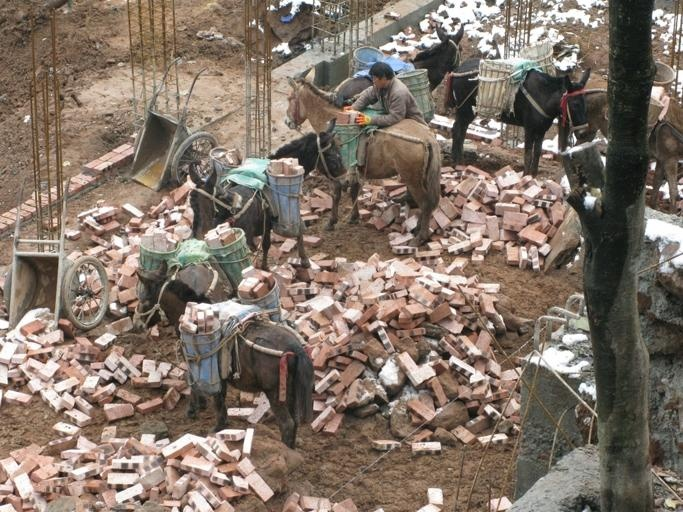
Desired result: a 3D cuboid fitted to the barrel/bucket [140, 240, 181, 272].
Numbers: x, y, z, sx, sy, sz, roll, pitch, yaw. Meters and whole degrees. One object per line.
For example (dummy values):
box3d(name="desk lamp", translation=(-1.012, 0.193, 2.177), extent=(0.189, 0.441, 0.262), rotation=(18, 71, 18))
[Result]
box3d(name="barrel/bucket", translation=(-2.415, 0.017, 15.512), extent=(0.381, 0.315, 0.356), rotation=(17, 14, -4))

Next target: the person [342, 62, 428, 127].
box3d(name="person", translation=(0.697, -2.508, 18.120), extent=(0.799, 1.313, 1.000), rotation=(11, 25, 26))

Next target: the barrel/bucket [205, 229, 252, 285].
box3d(name="barrel/bucket", translation=(-1.520, -0.043, 16.070), extent=(0.625, 0.709, 0.582), rotation=(10, 22, -4))

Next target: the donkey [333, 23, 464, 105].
box3d(name="donkey", translation=(0.971, -3.457, 20.976), extent=(2.300, 1.630, 0.566), rotation=(-26, 75, -6))

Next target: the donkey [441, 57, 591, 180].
box3d(name="donkey", translation=(2.860, -2.311, 19.573), extent=(2.724, 1.956, 0.662), rotation=(21, 31, 36))

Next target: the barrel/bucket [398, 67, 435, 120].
box3d(name="barrel/bucket", translation=(1.272, -2.819, 19.666), extent=(0.592, 0.947, 0.544), rotation=(5, 22, -2))

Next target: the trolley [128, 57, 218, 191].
box3d(name="trolley", translation=(-3.004, -2.288, 20.570), extent=(1.373, 2.230, 1.792), rotation=(25, 49, 24))

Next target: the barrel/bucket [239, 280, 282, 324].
box3d(name="barrel/bucket", translation=(-1.012, 0.673, 15.014), extent=(0.479, 0.558, 0.499), rotation=(-22, 7, 3))

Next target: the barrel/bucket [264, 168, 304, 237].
box3d(name="barrel/bucket", translation=(-0.805, -0.794, 16.981), extent=(0.482, 0.871, 0.458), rotation=(0, 23, 0))

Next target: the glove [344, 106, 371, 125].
box3d(name="glove", translation=(0.250, -2.165, 17.960), extent=(0.408, 0.198, 0.281), rotation=(-3, 30, 4))
